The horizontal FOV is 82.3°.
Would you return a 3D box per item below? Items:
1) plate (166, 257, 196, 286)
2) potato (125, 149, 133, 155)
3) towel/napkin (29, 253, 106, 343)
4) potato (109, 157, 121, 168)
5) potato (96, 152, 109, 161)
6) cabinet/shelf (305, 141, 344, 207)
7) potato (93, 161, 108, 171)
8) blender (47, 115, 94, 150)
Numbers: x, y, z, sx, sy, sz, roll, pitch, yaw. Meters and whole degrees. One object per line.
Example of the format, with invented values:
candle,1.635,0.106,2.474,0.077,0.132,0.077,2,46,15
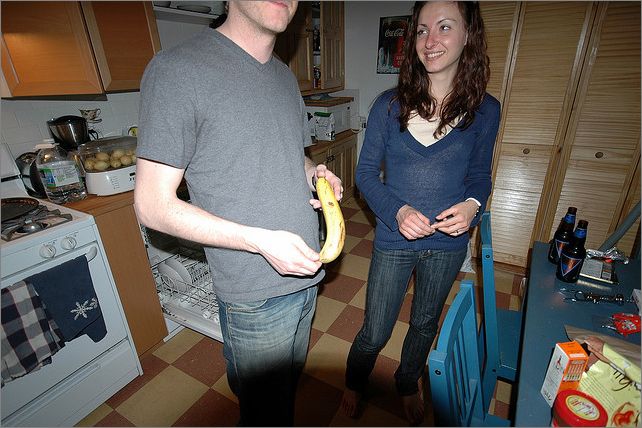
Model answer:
plate,-1.075,0.431,2.818,0.211,0.186,0.057,35,37,9
potato,-1.376,-0.446,2.649,0.048,0.026,0.047,24,-1,-12
towel/napkin,-1.560,0.540,2.272,0.110,0.465,0.364,-3,19,39
potato,-1.403,-0.354,2.508,0.063,0.050,0.076,-10,27,-22
potato,-1.493,-0.396,2.520,0.081,0.041,0.101,-20,31,-37
cabinet/shelf,-0.032,-0.200,1.932,0.083,0.259,0.219,-15,8,46
potato,-1.467,-0.319,2.454,0.075,0.054,0.043,13,-10,-14
blender,-1.770,-0.598,2.698,0.219,0.203,0.167,-5,15,-24
